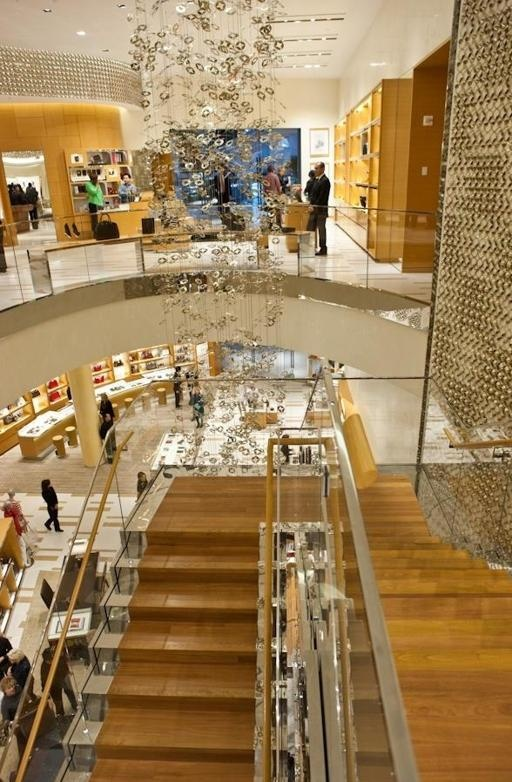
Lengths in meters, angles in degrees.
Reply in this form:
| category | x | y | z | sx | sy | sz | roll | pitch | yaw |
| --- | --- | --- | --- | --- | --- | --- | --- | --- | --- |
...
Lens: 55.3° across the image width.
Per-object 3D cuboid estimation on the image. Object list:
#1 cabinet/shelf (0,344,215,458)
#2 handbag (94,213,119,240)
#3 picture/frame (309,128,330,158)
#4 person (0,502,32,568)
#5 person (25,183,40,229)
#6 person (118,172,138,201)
| category | x | y | z | sx | sy | sz | roll | pitch | yaw |
| --- | --- | --- | --- | --- | --- | --- | --- | --- | --- |
| cabinet/shelf | -4.110 | 0.090 | 14.581 | 3.735 | 1.844 | 6.038 | 9 | 25 | 26 |
| handbag | -2.701 | -3.007 | 8.980 | 0.440 | 0.424 | 0.414 | -9 | 23 | -16 |
| picture/frame | 2.005 | -7.917 | 15.502 | 0.741 | 0.962 | 0.072 | -2 | 19 | -1 |
| person | -4.371 | 2.696 | 9.021 | 0.371 | 1.312 | 0.439 | -11 | 44 | -11 |
| person | -6.049 | -5.232 | 13.467 | 0.370 | 0.895 | 0.217 | -15 | 24 | -28 |
| person | -3.532 | -5.632 | 13.701 | 0.471 | 0.722 | 1.129 | -7 | 22 | -10 |
